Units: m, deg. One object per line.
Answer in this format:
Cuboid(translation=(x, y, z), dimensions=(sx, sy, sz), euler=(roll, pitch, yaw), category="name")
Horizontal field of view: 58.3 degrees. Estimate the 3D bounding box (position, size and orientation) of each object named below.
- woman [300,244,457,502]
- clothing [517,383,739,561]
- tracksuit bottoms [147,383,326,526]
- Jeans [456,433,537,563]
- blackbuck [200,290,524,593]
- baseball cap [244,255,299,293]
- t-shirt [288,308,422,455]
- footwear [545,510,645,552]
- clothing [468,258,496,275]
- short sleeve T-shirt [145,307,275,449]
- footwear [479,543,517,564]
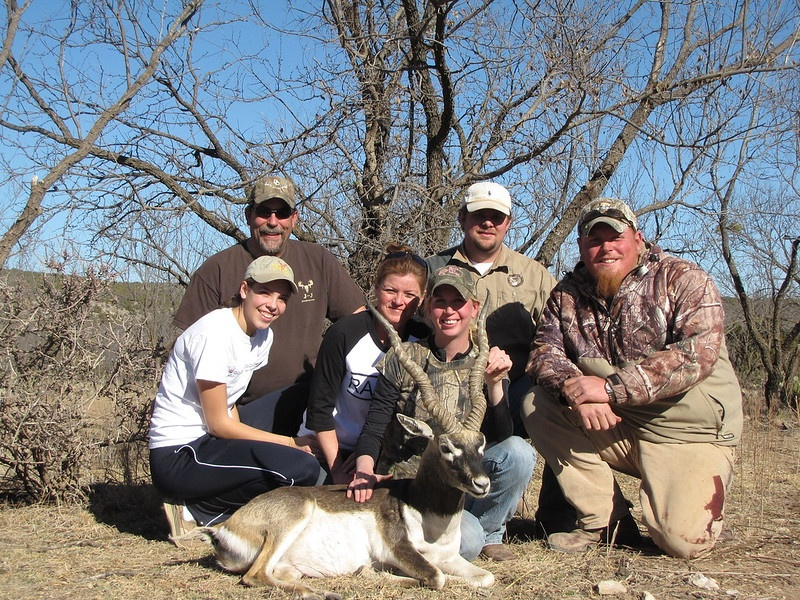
Cuboid(translation=(-0.169, 0.530, 7.135), dimensions=(1.480, 2.375, 1.332), euler=(6, 14, -30), category="woman")
Cuboid(translation=(2.386, 1.698, 7.401), dimensions=(1.614, 1.962, 1.282), euler=(-7, -2, -40), category="clothing")
Cuboid(translation=(-1.692, 1.589, 7.035), dimensions=(1.289, 0.494, 1.318), euler=(0, 30, -19), category="tracksuit bottoms")
Cuboid(translation=(1.019, 1.952, 6.872), dimensions=(0.459, 1.100, 1.449), euler=(21, -21, 13), category="Jeans")
Cuboid(translation=(-0.556, 1.408, 5.928), dimensions=(2.727, 2.551, 1.546), euler=(-6, -27, 23), category="blackbuck")
Cuboid(translation=(-1.304, -0.252, 6.963), dimensions=(0.300, 0.247, 0.420), euler=(11, -10, -26), category="baseball cap")
Cuboid(translation=(-0.428, 0.846, 7.029), dimensions=(0.590, 1.134, 0.992), euler=(38, 5, 37), category="t-shirt")
Cuboid(translation=(1.905, 2.296, 7.177), dimensions=(0.980, 0.525, 0.374), euler=(6, -15, -6), category="footwear")
Cuboid(translation=(0.948, -0.378, 8.261), dimensions=(0.175, 0.156, 0.184), euler=(-2, 0, 25), category="clothing")
Cuboid(translation=(-1.914, 0.748, 7.130), dimensions=(0.971, 0.660, 1.077), euler=(14, 8, 9), category="short sleeve T-shirt")
Cuboid(translation=(0.922, 2.389, 6.754), dimensions=(0.142, 0.118, 0.256), euler=(4, -12, -40), category="footwear")
